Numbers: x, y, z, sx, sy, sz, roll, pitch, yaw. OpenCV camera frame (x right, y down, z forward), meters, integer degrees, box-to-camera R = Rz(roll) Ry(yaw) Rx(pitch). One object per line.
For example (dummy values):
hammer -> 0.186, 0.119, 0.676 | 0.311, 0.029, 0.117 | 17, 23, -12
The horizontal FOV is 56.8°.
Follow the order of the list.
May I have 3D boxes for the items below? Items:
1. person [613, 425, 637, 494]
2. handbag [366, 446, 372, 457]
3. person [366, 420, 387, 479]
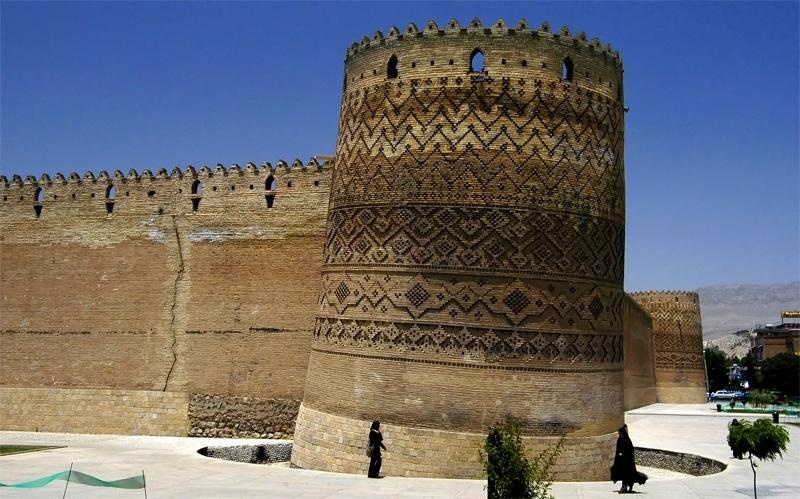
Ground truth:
person -> 3.897, 3.672, 12.941 | 0.401, 1.026, 0.801 | 0, -6, 16
handbag -> -0.552, 3.743, 13.661 | 0.103, 0.205, 0.235 | 2, -6, -2
person -> -0.429, 3.735, 13.751 | 0.349, 1.033, 0.633 | 2, -6, -2
